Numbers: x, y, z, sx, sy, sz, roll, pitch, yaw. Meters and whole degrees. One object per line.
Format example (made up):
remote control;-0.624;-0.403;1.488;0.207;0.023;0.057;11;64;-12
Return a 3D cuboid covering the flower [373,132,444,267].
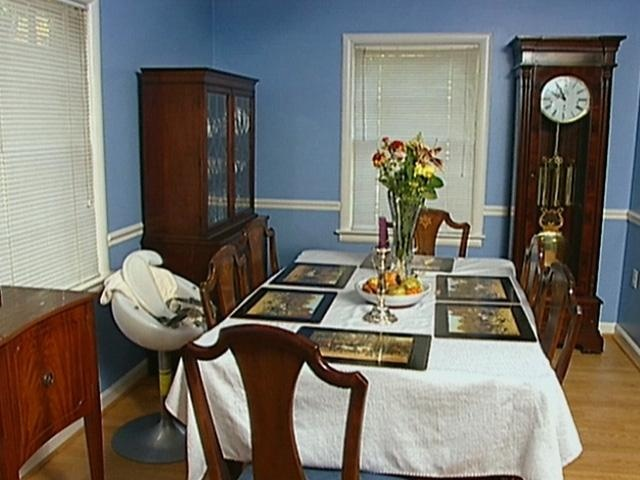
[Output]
flower;0.456;-0.174;2.756;0.300;0.740;0.362;-1;14;-39
